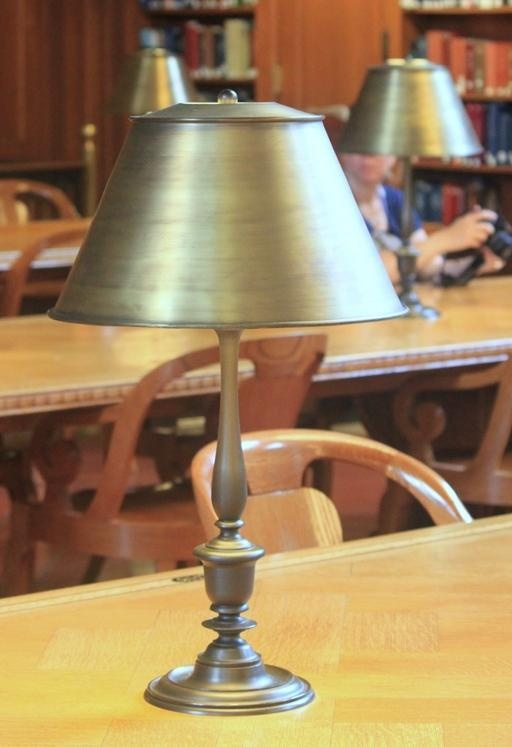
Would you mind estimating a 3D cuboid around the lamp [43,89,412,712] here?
[{"bbox_3d":[-0.023,0.029,0.515,0.195,0.408,0.199,-3,5,-27],"label":"lamp"}]
